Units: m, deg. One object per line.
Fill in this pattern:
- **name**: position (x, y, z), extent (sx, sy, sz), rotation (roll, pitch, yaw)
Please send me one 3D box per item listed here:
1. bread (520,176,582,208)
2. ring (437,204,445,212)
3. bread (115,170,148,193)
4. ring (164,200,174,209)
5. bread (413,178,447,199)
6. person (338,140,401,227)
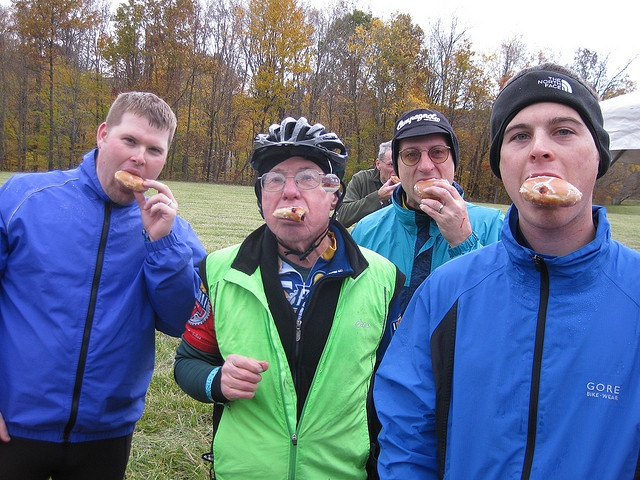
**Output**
- **bread**: position (1.250, -0.254, 3.068), extent (0.215, 0.114, 0.181), rotation (10, 11, 34)
- **ring**: position (0.955, -0.252, 4.500), extent (0.010, 0.049, 0.046), rotation (22, -35, -11)
- **bread**: position (-1.382, -0.422, 4.140), extent (0.267, 0.149, 0.070), rotation (5, 6, 5)
- **ring**: position (-1.112, -0.261, 4.201), extent (0.036, 0.034, 0.037), rotation (-7, 27, 4)
- **bread**: position (0.846, -0.409, 4.602), extent (0.158, 0.068, 0.174), rotation (-1, 46, 6)
- **person**: position (0.617, -0.653, 7.244), extent (0.739, 0.447, 1.050), rotation (-28, 6, 16)
